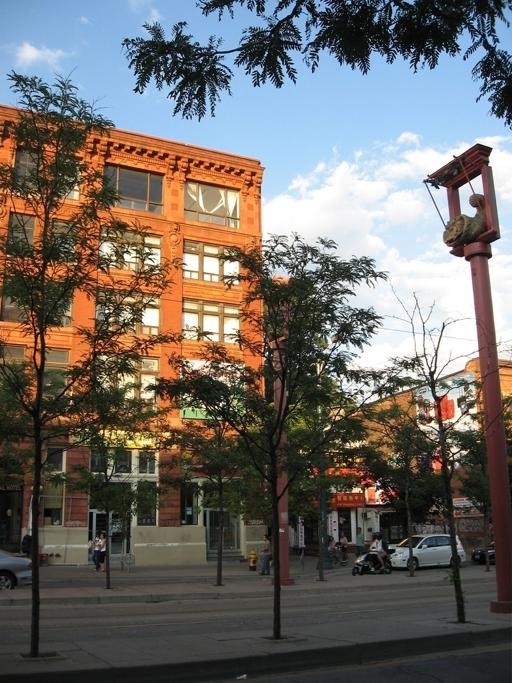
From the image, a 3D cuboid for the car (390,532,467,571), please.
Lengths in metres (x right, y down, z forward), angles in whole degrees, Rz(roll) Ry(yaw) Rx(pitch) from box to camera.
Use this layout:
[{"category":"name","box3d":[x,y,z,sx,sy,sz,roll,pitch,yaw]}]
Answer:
[{"category":"car","box3d":[7.753,9.664,34.350,3.238,1.493,1.511,5,-15,-29]}]

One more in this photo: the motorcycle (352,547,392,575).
[{"category":"motorcycle","box3d":[4.614,8.942,30.235,1.736,0.858,0.351,6,-17,-33]}]

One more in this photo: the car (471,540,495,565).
[{"category":"car","box3d":[10.682,10.063,35.289,0.987,1.116,6.212,-6,-13,14]}]
